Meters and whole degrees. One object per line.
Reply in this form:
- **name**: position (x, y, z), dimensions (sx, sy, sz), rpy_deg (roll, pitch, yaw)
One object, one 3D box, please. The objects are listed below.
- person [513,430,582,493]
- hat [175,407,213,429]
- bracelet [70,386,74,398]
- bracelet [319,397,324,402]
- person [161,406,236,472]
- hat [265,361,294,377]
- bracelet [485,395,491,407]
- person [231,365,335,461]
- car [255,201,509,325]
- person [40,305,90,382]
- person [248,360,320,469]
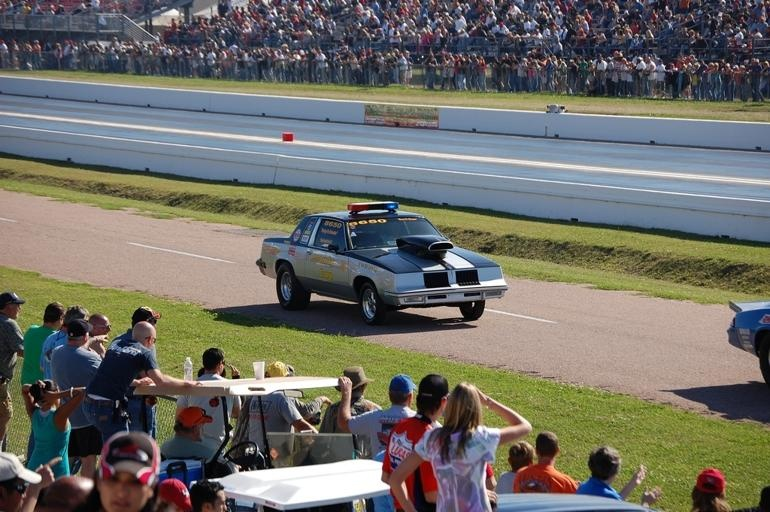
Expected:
- **person**: position (2.429, 3.194, 17.633), dimensions (1.126, 1.022, 0.560), rpy_deg (5, 2, 38)
- **hat**: position (-3.007, 2.463, 18.347), dimensions (0.450, 0.274, 0.310), rpy_deg (-14, 23, -34)
- **bracelet**: position (-4.968, 2.156, 18.538), dimensions (0.046, 0.138, 0.137), rpy_deg (-2, 1, -7)
- **bracelet**: position (-1.051, 2.396, 19.472), dimensions (0.046, 0.070, 0.018), rpy_deg (3, 22, 5)
- **person**: position (-2.896, 2.908, 18.413), dimensions (0.593, 1.168, 0.699), rpy_deg (7, 18, 19)
- **hat**: position (-1.783, 1.921, 19.788), dimensions (0.392, 0.215, 0.571), rpy_deg (-2, 2, -14)
- **bracelet**: position (1.488, 2.123, 17.075), dimensions (0.040, 0.117, 0.119), rpy_deg (-36, 15, 27)
- **person**: position (-1.692, 2.511, 19.085), dimensions (1.305, 1.695, 1.085), rpy_deg (-18, 31, -38)
- **car**: position (-0.315, 0.200, 25.712), dimensions (2.420, 2.071, 4.704), rpy_deg (-5, 8, -42)
- **person**: position (-5.292, 1.486, 19.341), dimensions (0.511, 1.291, 0.459), rpy_deg (38, 29, 24)
- **person**: position (-1.698, 2.448, 18.804), dimensions (0.996, 1.259, 1.510), rpy_deg (-4, 15, -16)
